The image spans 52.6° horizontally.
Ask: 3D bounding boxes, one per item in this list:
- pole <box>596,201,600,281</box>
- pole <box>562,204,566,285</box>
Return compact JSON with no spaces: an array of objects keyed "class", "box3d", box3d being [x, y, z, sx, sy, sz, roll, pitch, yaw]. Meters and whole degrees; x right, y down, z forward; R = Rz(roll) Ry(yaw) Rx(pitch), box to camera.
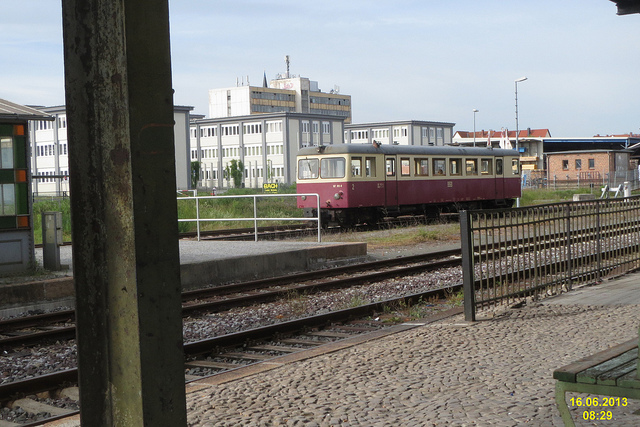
[{"class":"pole","box3d":[4.837,0.507,11.293,0.073,1.384,0.273,-2,2,23]},{"class":"pole","box3d":[3.966,0.538,10.552,0.046,1.341,0.315,-3,2,21]}]
